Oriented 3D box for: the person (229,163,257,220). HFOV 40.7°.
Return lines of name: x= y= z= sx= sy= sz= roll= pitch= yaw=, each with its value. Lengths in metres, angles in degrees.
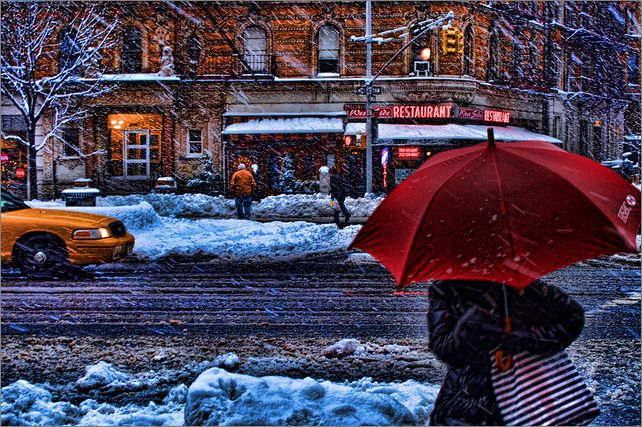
person: x=-3.096 y=-0.904 z=33.939 sx=0.936 sy=2.185 sz=0.829 roll=-2 pitch=2 yaw=5
